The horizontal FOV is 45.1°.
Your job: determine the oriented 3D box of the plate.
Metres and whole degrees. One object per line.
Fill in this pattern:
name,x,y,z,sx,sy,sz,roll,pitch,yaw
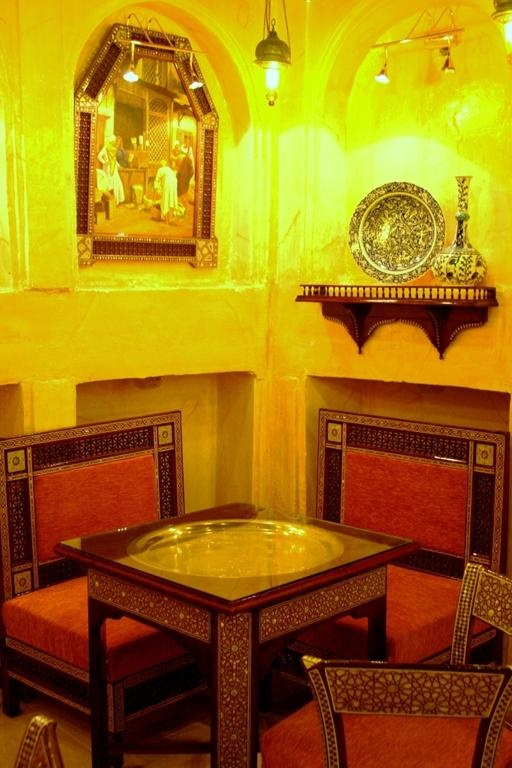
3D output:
plate,0.853,-0.892,3.703,0.549,0.577,0.086,24,44,-8
